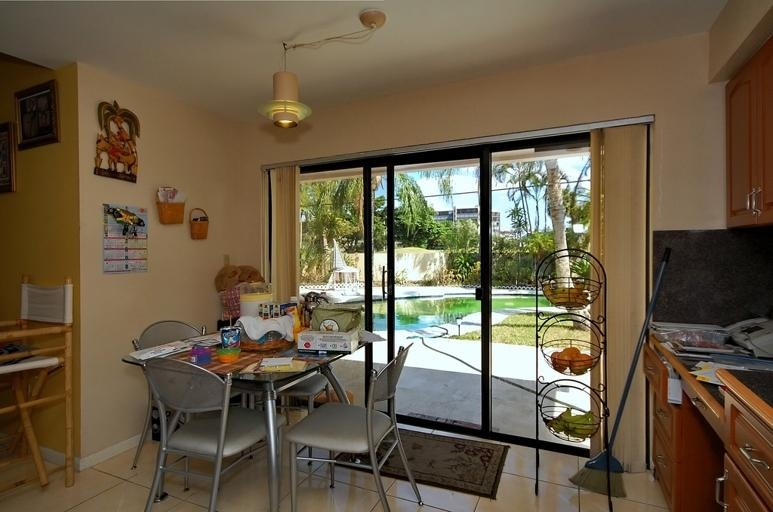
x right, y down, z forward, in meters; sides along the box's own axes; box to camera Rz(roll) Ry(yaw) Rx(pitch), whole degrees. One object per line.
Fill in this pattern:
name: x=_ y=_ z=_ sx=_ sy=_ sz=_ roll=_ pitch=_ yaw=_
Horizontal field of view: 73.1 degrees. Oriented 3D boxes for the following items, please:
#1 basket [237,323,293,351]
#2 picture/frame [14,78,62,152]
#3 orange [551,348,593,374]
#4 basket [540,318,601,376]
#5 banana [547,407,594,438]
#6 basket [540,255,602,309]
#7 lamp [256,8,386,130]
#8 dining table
basket: x=-0.968 y=0.640 z=4.109 sx=0.287 sy=0.093 sz=0.213 roll=1 pitch=-1 yaw=30
picture/frame: x=-3.047 y=-1.243 z=4.584 sx=0.702 sy=0.703 sz=0.052 roll=0 pitch=0 yaw=27
orange: x=1.382 y=0.756 z=3.907 sx=0.222 sy=0.125 sz=0.228 roll=1 pitch=-5 yaw=-22
basket: x=1.549 y=0.725 z=4.329 sx=0.570 sy=0.571 sz=0.515 roll=0 pitch=-4 yaw=12
banana: x=1.436 y=1.281 z=4.013 sx=0.382 sy=0.216 sz=0.192 roll=-2 pitch=3 yaw=11
basket: x=1.469 y=0.195 z=4.311 sx=0.541 sy=0.572 sz=0.492 roll=0 pitch=-12 yaw=24
lamp: x=-0.482 y=-1.430 z=4.192 sx=0.945 sy=0.794 sz=0.712 roll=-3 pitch=3 yaw=-3
dining table: x=-1.064 y=1.147 z=4.108 sx=1.468 sy=0.890 sz=1.416 roll=-1 pitch=-4 yaw=19
